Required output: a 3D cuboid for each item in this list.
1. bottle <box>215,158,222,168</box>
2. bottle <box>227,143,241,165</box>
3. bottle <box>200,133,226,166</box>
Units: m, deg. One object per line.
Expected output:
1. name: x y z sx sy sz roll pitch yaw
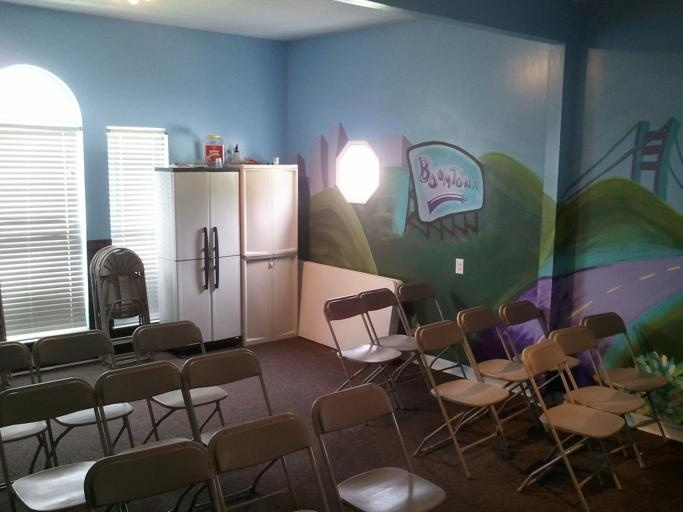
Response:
1. bottle: -1.693 -1.303 6.751 0.082 0.120 0.181 -3 10 -5
2. bottle: -1.548 -1.469 7.009 0.211 0.286 0.408 -3 10 -6
3. bottle: -1.769 -1.468 6.750 0.264 0.427 0.255 -2 10 0
